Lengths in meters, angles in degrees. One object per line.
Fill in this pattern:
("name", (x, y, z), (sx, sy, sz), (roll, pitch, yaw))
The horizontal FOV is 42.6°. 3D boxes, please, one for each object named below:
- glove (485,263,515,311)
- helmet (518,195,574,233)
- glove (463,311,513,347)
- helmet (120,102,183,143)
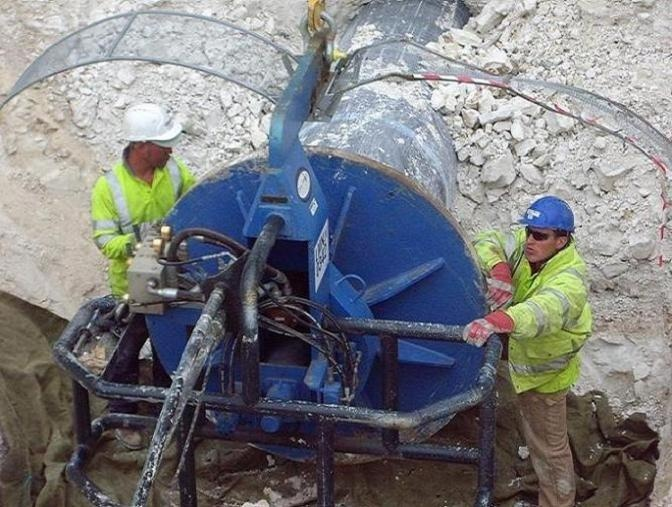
("glove", (1.090, 0.219, 5.717), (0.171, 0.329, 0.151), (5, -4, 10))
("helmet", (1.389, -0.253, 5.614), (0.297, 0.154, 0.207), (17, 8, -33))
("glove", (0.903, 0.445, 5.120), (0.170, 0.134, 0.278), (-4, 14, 36))
("helmet", (-1.324, -0.896, 6.135), (0.350, 0.281, 0.189), (3, -41, 1))
